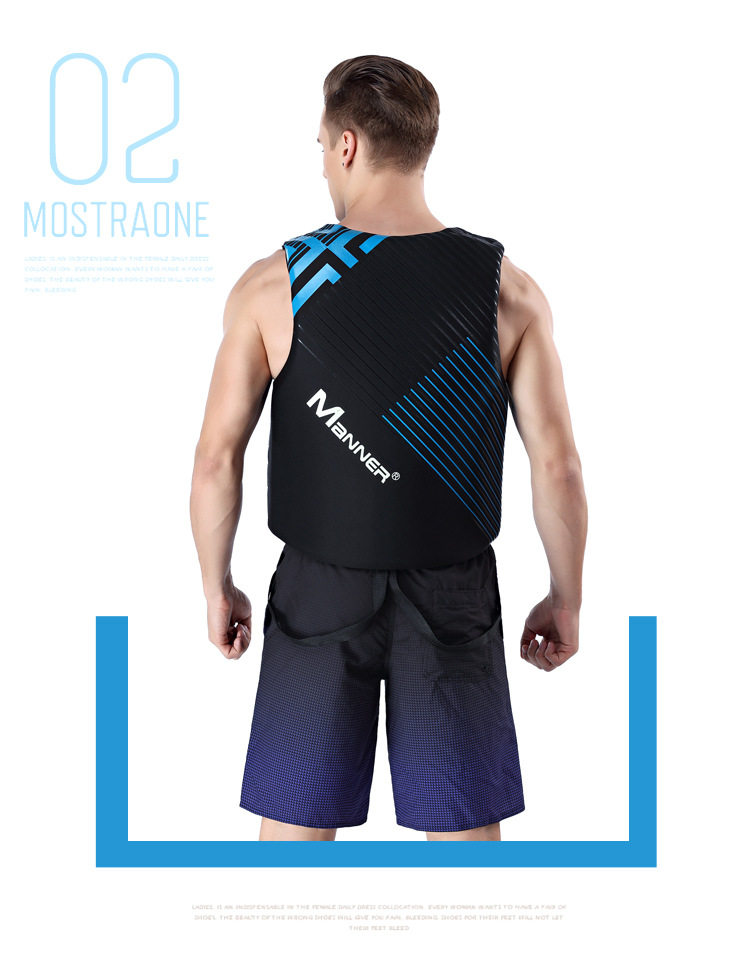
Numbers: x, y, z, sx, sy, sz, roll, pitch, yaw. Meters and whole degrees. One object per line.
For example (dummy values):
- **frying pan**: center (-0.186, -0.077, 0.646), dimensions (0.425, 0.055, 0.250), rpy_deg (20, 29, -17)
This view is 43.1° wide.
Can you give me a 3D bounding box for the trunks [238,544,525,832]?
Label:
- **trunks**: center (0.019, 0.380, 2.130), dimensions (0.636, 0.705, 0.310), rpy_deg (0, 9, 1)
